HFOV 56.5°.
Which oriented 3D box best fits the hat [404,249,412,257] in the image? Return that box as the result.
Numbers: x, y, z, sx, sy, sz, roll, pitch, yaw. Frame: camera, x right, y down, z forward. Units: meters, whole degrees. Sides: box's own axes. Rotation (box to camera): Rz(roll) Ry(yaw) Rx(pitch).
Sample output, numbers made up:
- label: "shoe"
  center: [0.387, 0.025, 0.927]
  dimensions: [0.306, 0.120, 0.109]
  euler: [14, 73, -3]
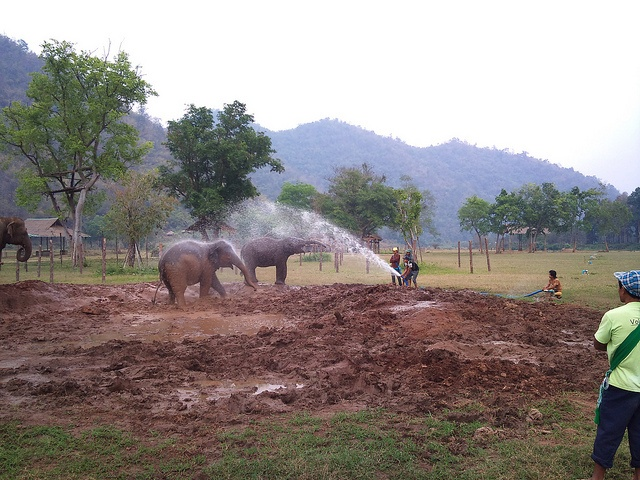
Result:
- label: "hat"
  center: [3.570, 0.542, 24.215]
  dimensions: [0.177, 0.332, 0.148]
  euler: [2, -14, 9]

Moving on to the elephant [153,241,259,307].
- label: "elephant"
  center: [-4.060, 1.101, 19.670]
  dimensions: [0.923, 2.143, 3.114]
  euler: [4, 10, 31]
